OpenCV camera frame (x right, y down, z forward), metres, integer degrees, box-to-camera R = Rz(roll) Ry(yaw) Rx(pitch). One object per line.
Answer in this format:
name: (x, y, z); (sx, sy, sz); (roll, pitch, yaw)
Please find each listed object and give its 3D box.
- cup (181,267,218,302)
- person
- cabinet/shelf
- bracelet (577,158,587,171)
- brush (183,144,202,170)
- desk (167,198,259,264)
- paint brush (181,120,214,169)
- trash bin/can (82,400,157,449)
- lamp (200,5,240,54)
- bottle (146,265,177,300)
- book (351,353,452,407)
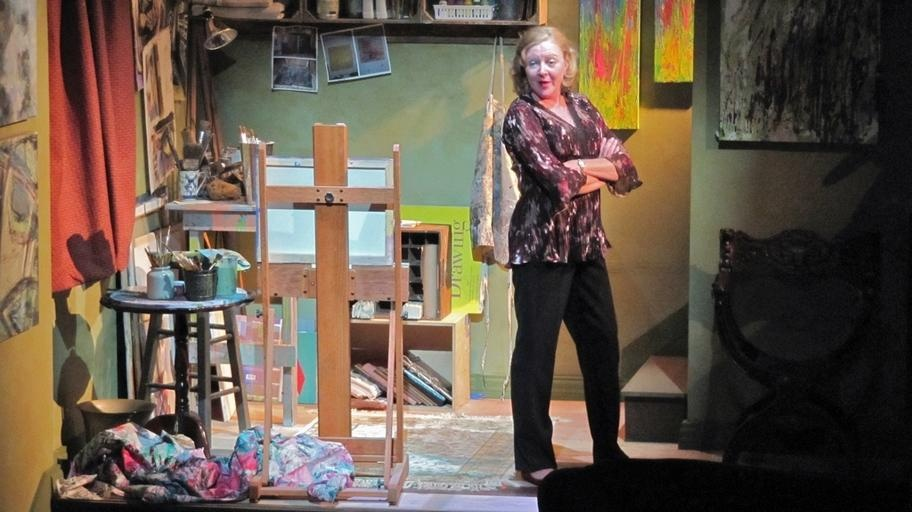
cup: (-1.606, 0.181, 6.150); (0.196, 0.158, 0.174); (-2, 3, -23)
person: (0.640, -0.004, 5.747); (0.740, 2.683, 0.413); (0, 3, 3)
cabinet/shelf: (-0.360, 0.647, 7.481); (1.225, 0.854, 0.636); (1, 4, 10)
bracelet: (0.718, -0.526, 5.615); (0.047, 0.067, 0.018); (-5, -7, 9)
brush: (-1.903, -0.723, 7.101); (0.151, 0.183, 0.086); (-1, 3, -15)
desk: (-1.815, -0.231, 7.194); (0.601, 0.361, 0.722); (-1, 4, -16)
paint brush: (-1.906, -0.815, 7.191); (0.194, 0.105, 0.455); (-2, 45, -4)
trash bin/can: (-2.121, 0.989, 6.117); (0.307, 0.218, 0.311); (-5, 20, -30)
lamp: (-1.738, -1.669, 7.132); (0.266, 0.296, 0.123); (0, 3, 2)
bottle: (-1.848, 0.175, 6.143); (0.186, 0.203, 0.182); (0, 2, -28)
book: (-0.404, 0.920, 7.377); (0.749, 0.355, 0.353); (0, 3, 1)
